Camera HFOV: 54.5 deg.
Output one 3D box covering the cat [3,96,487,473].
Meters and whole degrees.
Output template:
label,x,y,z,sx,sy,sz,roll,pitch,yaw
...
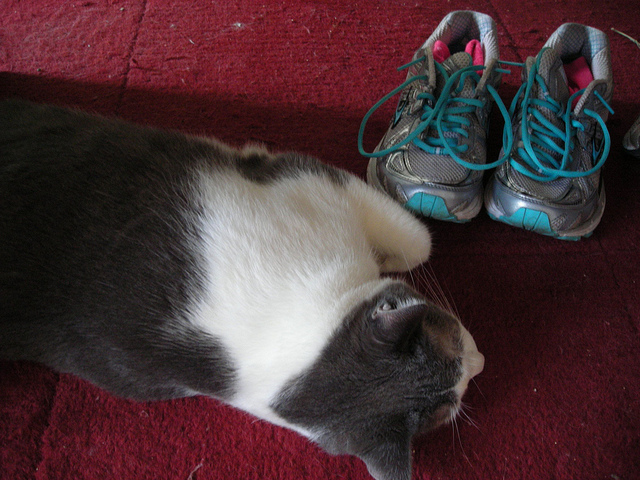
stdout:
label,x,y,z,sx,sy,sz,roll,pitch,yaw
cat,-0.243,0.202,1.833,1.468,0.788,0.751,15,107,1
